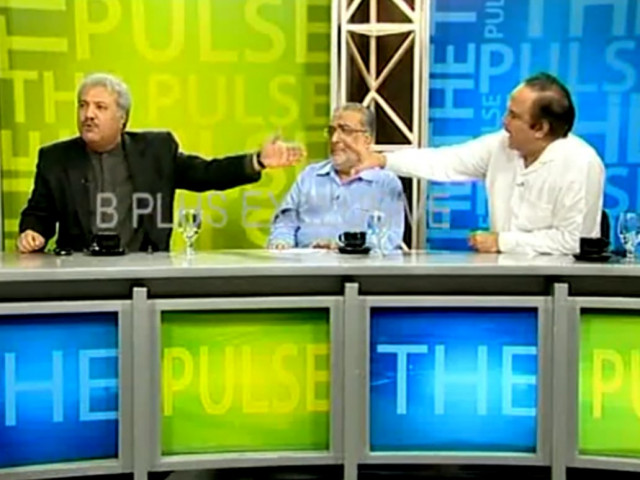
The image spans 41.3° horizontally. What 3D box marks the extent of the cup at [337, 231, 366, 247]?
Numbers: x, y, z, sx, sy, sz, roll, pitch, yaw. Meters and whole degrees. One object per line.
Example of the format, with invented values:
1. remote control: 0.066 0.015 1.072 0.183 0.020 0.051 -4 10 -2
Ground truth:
1. cup: 0.159 0.000 4.219 0.097 0.073 0.080 -1 2 2

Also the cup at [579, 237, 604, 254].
1. cup: 1.264 0.026 3.934 0.075 0.062 0.080 0 0 0

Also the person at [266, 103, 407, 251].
1. person: 0.112 -0.338 5.237 0.770 1.074 0.736 1 -12 12

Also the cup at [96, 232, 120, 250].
1. cup: -1.025 0.008 4.085 0.084 0.064 0.084 1 -1 0
